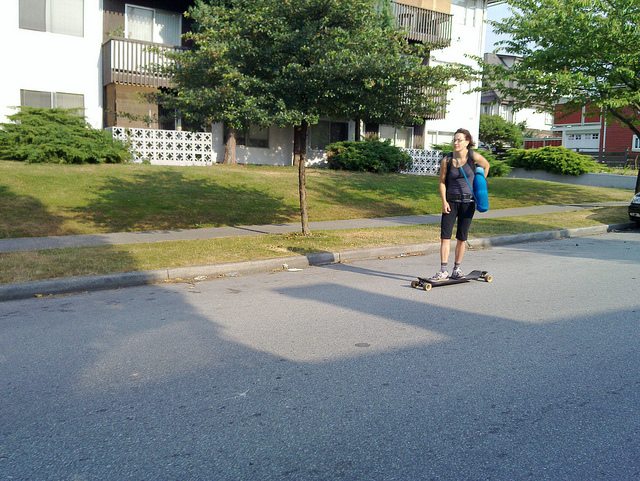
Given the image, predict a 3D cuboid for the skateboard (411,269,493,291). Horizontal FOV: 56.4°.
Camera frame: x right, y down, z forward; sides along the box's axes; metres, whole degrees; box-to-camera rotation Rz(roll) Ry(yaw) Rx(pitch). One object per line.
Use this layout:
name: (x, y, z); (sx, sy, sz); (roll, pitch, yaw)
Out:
skateboard: (2.048, 0.590, 9.049); (1.713, 0.229, 0.423); (-2, 7, -27)

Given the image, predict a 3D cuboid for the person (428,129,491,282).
person: (2.121, -0.505, 8.962); (0.743, 2.333, 0.786); (4, 13, 14)

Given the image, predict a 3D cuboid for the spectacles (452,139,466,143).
spectacles: (2.014, -1.464, 8.661); (0.170, 0.048, 0.121); (4, 13, 16)
